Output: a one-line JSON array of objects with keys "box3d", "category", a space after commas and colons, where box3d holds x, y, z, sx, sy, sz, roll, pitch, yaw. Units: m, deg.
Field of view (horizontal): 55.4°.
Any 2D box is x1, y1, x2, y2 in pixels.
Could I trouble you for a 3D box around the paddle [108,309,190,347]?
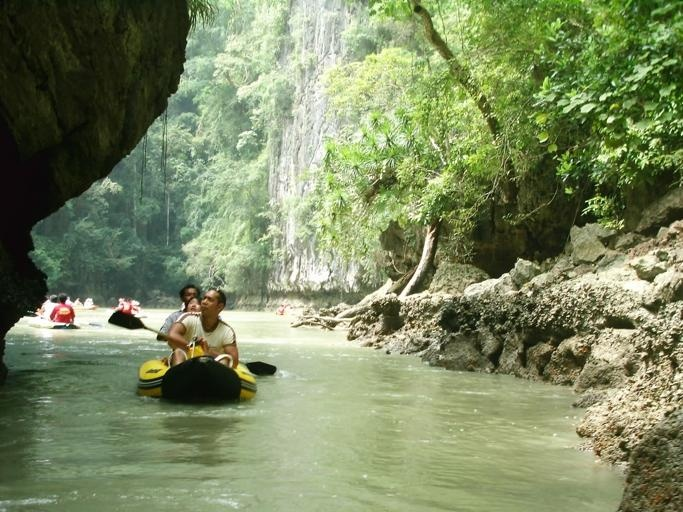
[{"box3d": [-2.946, 1.112, 10.019, 1.225, 0.156, 0.262, 12, 40, 19], "category": "paddle"}]
